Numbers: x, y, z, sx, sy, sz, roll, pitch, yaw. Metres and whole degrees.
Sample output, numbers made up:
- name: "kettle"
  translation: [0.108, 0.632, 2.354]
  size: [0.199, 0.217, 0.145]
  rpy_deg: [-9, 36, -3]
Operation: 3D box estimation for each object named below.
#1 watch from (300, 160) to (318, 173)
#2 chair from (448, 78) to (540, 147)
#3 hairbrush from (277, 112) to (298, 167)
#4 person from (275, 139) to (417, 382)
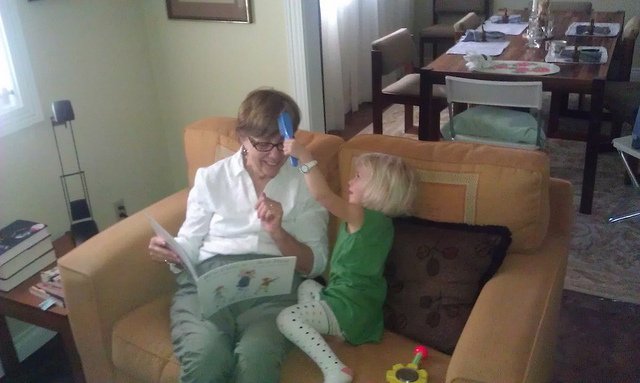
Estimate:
- name: "watch"
  translation: [-0.050, -0.128, 2.764]
  size: [0.081, 0.048, 0.084]
  rpy_deg: [-30, -14, 29]
- name: "chair"
  translation: [1.326, -0.599, 3.865]
  size: [0.452, 0.714, 0.440]
  rpy_deg: [5, 62, 25]
- name: "hairbrush"
  translation: [-0.173, -0.277, 2.785]
  size: [0.082, 0.298, 0.042]
  rpy_deg: [-14, 1, -11]
- name: "person"
  translation: [0.118, 0.334, 2.690]
  size: [0.599, 1.065, 0.806]
  rpy_deg: [7, 25, 22]
